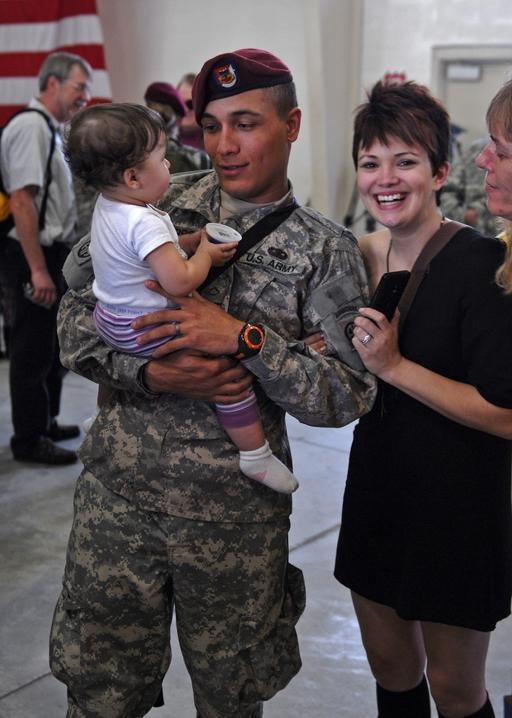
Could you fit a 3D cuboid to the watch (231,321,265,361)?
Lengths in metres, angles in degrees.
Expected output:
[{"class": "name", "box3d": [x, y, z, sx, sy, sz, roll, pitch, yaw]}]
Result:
[{"class": "watch", "box3d": [-0.011, -0.037, 1.516, 0.075, 0.068, 0.053, -23, -4, -10]}]

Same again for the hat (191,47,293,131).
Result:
[{"class": "hat", "box3d": [-0.028, -0.598, 1.572, 0.203, 0.070, 0.154, -7, -3, -22]}]

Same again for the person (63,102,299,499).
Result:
[{"class": "person", "box3d": [-0.141, -0.097, 1.544, 0.476, 0.823, 0.244, 2, 19, 2]}]
